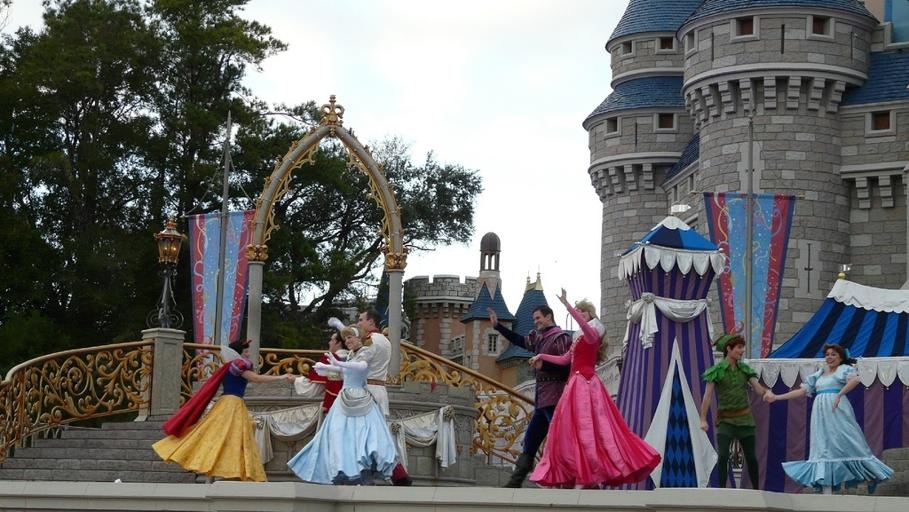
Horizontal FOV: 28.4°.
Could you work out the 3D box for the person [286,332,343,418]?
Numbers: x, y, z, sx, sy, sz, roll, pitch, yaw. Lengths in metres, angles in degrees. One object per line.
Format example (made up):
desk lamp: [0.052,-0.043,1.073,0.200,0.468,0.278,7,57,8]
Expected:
person: [-3.275,3.067,44.498,1.364,2.303,0.977,2,-1,23]
